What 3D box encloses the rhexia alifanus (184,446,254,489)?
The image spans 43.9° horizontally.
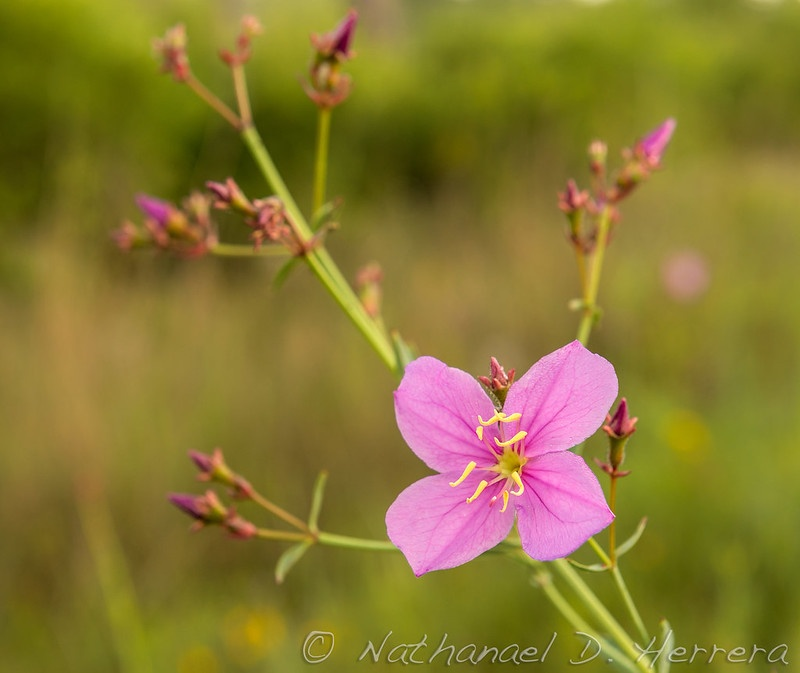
[{"bbox_3d":[-0.468,0.340,2.578,0.154,0.089,0.096,2,66,7],"label":"rhexia alifanus"}]

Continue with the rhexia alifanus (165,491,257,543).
[{"bbox_3d":[-0.530,0.494,2.741,0.203,0.100,0.075,30,30,-9],"label":"rhexia alifanus"}]

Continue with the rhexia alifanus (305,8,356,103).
[{"bbox_3d":[-0.181,-0.712,2.539,0.117,0.175,0.178,14,67,12],"label":"rhexia alifanus"}]

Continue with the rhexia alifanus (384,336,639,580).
[{"bbox_3d":[0.234,0.295,2.353,0.553,0.189,0.472,-5,68,5],"label":"rhexia alifanus"}]
